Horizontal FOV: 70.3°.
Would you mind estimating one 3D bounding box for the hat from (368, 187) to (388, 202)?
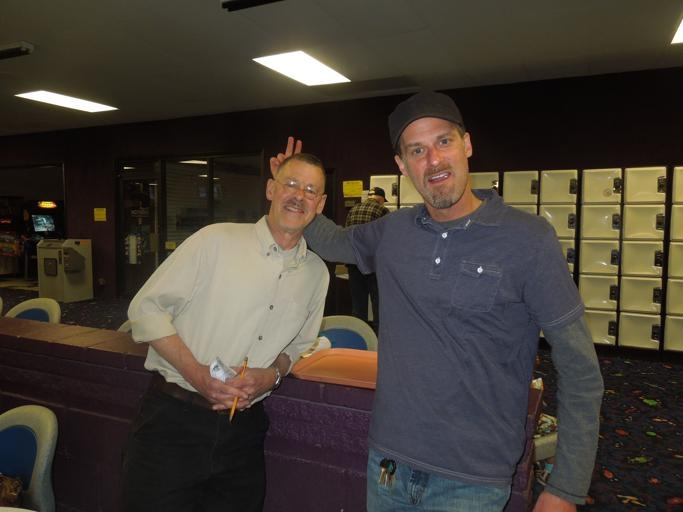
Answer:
[{"bbox_3d":[0.453,-0.766,5.934,0.135,0.122,0.220,12,8,38],"label":"hat"}]

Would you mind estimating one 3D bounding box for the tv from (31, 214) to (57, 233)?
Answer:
[{"bbox_3d":[-6.919,-0.767,11.172,0.379,0.410,0.130,-3,-7,-39],"label":"tv"}]

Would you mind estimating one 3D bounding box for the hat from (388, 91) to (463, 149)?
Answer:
[{"bbox_3d":[0.341,-0.590,2.003,0.269,0.215,0.474,4,25,17],"label":"hat"}]
